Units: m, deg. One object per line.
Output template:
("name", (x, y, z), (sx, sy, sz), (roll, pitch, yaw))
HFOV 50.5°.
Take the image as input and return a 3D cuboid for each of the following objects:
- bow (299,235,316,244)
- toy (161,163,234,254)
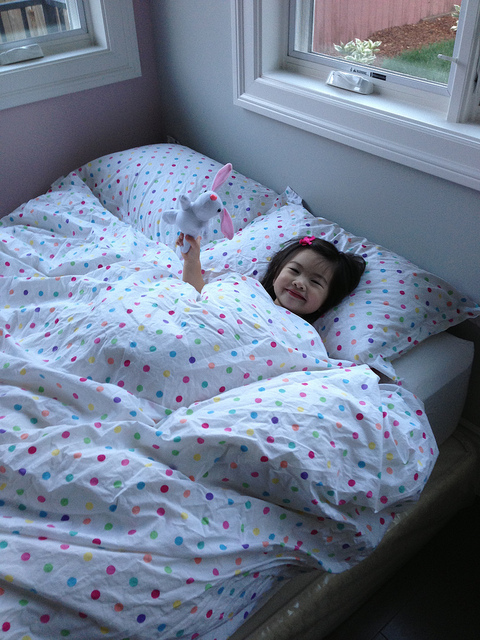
("bow", (0.188, -0.225, 1.429), (0.034, 0.012, 0.034), (-24, 24, 1))
("toy", (-0.118, -0.288, 1.403), (0.197, 0.248, 0.243), (-11, 34, -17))
